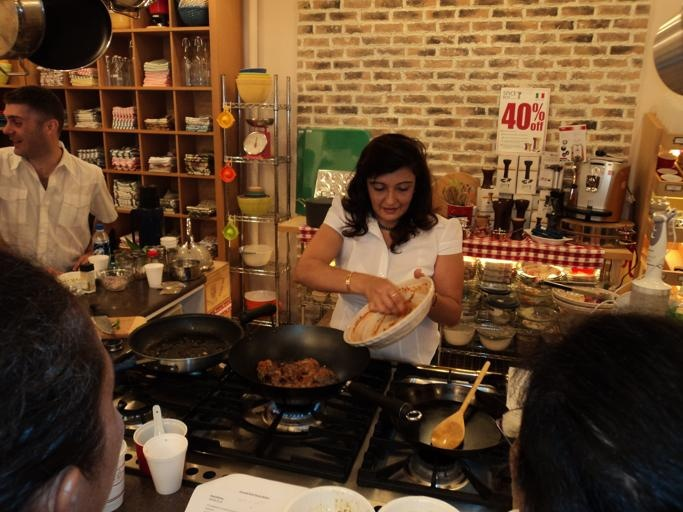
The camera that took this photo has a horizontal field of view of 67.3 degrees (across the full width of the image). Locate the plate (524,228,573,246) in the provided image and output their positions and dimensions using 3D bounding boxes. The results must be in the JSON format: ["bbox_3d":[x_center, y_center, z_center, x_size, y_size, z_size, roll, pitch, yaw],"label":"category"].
[{"bbox_3d":[1.355,-0.117,3.357,0.300,0.074,0.159,9,16,20],"label":"plate"}]

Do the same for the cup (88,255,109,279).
[{"bbox_3d":[-1.215,0.056,2.601,0.119,0.112,0.117,2,3,0],"label":"cup"}]

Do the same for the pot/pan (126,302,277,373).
[{"bbox_3d":[-0.512,0.209,1.673,0.238,0.053,0.387,12,17,36],"label":"pot/pan"}]

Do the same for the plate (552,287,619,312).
[{"bbox_3d":[0.848,0.151,1.788,0.192,0.057,0.186,-1,4,-20],"label":"plate"}]

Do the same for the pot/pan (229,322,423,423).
[{"bbox_3d":[-0.099,0.326,1.510,0.398,0.098,0.262,17,17,38],"label":"pot/pan"}]

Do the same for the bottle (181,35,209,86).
[{"bbox_3d":[-1.162,-1.590,4.217,0.299,0.390,0.161,13,19,29],"label":"bottle"}]

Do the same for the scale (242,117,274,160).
[{"bbox_3d":[-0.674,-0.964,4.214,0.225,0.298,0.435,1,16,-9],"label":"scale"}]
